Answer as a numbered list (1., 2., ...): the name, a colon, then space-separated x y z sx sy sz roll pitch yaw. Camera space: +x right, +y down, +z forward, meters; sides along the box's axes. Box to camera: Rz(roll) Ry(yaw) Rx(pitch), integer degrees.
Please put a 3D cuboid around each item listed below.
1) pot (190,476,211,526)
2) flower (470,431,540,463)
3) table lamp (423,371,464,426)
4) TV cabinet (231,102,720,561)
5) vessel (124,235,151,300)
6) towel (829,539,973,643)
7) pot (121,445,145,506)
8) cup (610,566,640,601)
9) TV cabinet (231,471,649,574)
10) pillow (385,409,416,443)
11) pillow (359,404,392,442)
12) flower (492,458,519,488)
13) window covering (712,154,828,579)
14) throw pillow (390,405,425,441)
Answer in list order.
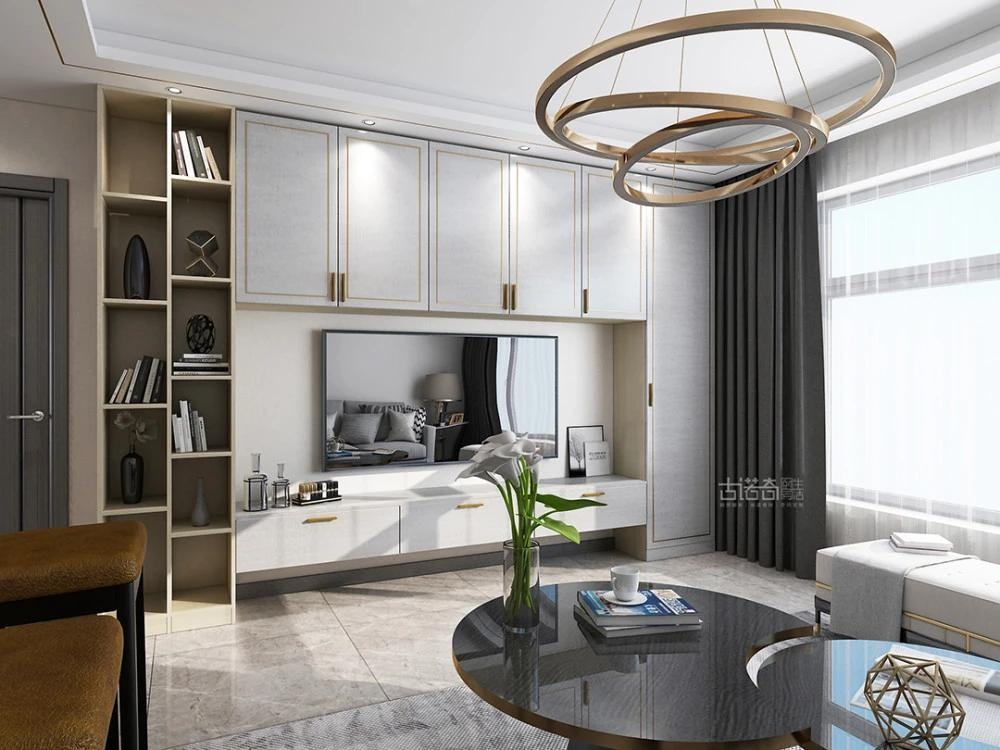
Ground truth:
1. pot: -1.724 0.714 4.145 0.098 0.256 0.263 -1 8 -22
2. flower: 0.007 0.275 2.756 0.173 0.102 0.217 6 8 29
3. table lamp: -0.415 0.192 4.919 0.244 0.313 0.244 11 -10 -20
4. TV cabinet: -0.256 -0.300 4.529 3.374 2.590 0.515 -1 0 -27
5. vessel: -1.978 -0.589 3.925 0.127 0.347 0.179 -1 8 -27
6. towel: 1.982 1.092 3.709 0.567 0.325 0.517 0 -2 -19
7. pot: -2.019 0.554 3.945 0.102 0.300 0.191 -1 8 -24
8. cup: 0.497 0.834 2.914 0.115 0.101 0.144 2 3 38
9. TV cabinet: -0.286 0.973 4.744 2.661 0.484 0.452 -2 -4 -18
10. pillow: -0.672 0.334 4.751 0.249 0.230 0.094 -1 -3 -22
11. pillow: -0.826 0.309 4.679 0.263 0.252 0.103 5 -5 -17
12. flower: 0.025 0.367 2.754 0.091 0.114 0.127 3 7 1
13. window covering: 1.788 -0.252 5.101 0.145 2.215 0.888 9 -11 -31
14. throw pillow: -0.628 0.313 4.768 0.271 0.256 0.106 1 -1 -20
